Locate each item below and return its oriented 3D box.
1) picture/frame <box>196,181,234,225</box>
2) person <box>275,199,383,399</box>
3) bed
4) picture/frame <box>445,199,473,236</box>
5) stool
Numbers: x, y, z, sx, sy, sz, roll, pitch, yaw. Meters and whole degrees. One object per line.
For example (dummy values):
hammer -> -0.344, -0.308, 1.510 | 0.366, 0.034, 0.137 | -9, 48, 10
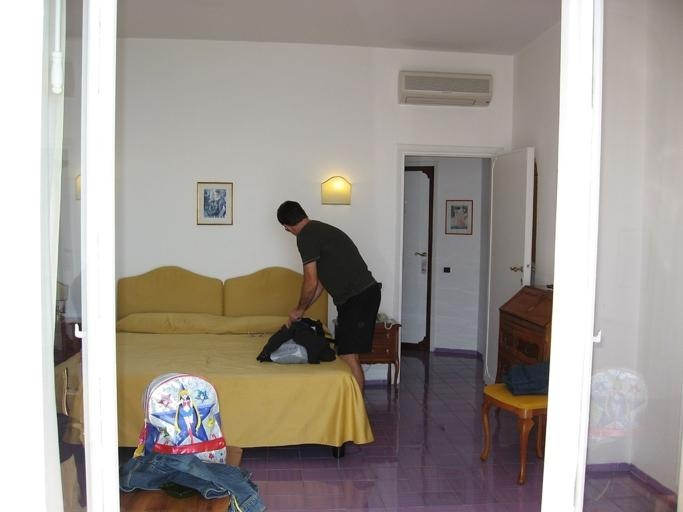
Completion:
picture/frame -> -1.257, -0.530, 5.456 | 0.379, 0.476, 0.024 | -1, 6, -4
person -> -0.085, 0.392, 4.550 | 0.827, 1.810, 0.504 | -7, 7, 3
bed -> -0.932, 0.787, 4.632 | 1.730, 1.197, 2.395 | -2, 6, -23
picture/frame -> 1.474, -0.491, 6.927 | 0.399, 0.582, 0.021 | 0, -2, 4
stool -> 1.132, 1.194, 3.853 | 0.431, 0.492, 0.444 | 9, -3, -13
